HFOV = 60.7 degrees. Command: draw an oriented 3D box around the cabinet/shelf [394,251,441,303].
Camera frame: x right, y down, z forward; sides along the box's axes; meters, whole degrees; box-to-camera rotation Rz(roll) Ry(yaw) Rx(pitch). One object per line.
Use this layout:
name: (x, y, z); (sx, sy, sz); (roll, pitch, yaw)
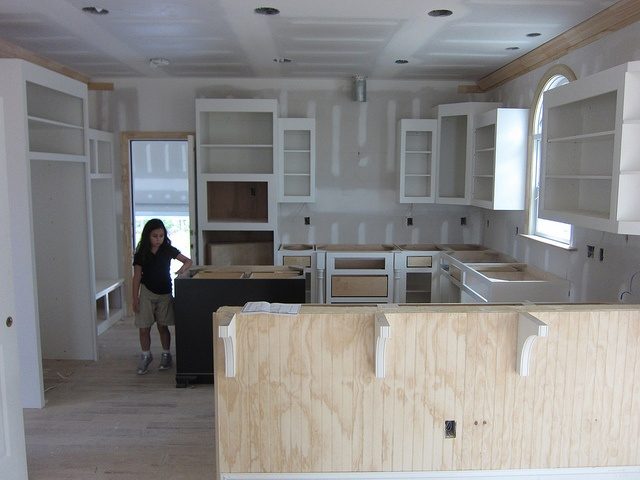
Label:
cabinet/shelf: (1.197, 0.443, 7.014); (0.532, 0.935, 0.676); (0, 1, 2)

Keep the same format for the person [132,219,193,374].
person: (-1.602, 0.564, 5.533); (0.536, 1.569, 0.523); (-3, 11, -18)

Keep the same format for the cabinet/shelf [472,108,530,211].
cabinet/shelf: (1.959, -0.893, 6.059); (0.417, 1.123, 0.671); (-1, 4, -3)

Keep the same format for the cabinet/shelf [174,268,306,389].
cabinet/shelf: (-0.824, 0.843, 5.299); (1.162, 1.138, 0.623); (-2, 4, -13)

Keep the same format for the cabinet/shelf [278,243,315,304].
cabinet/shelf: (-0.236, 0.380, 6.853); (0.533, 1.007, 0.645); (0, 3, -1)

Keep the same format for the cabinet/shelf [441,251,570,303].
cabinet/shelf: (1.886, 0.471, 5.665); (0.862, 0.598, 1.952); (-1, 2, -1)

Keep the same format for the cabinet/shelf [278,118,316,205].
cabinet/shelf: (-0.300, -0.998, 6.920); (0.475, 1.044, 0.449); (-1, 4, 0)

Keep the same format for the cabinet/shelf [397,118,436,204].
cabinet/shelf: (1.230, -0.981, 6.994); (0.454, 0.996, 0.261); (1, 5, 9)

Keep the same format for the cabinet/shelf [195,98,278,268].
cabinet/shelf: (-1.050, -0.464, 6.930); (0.935, 2.411, 0.394); (0, 2, -7)
